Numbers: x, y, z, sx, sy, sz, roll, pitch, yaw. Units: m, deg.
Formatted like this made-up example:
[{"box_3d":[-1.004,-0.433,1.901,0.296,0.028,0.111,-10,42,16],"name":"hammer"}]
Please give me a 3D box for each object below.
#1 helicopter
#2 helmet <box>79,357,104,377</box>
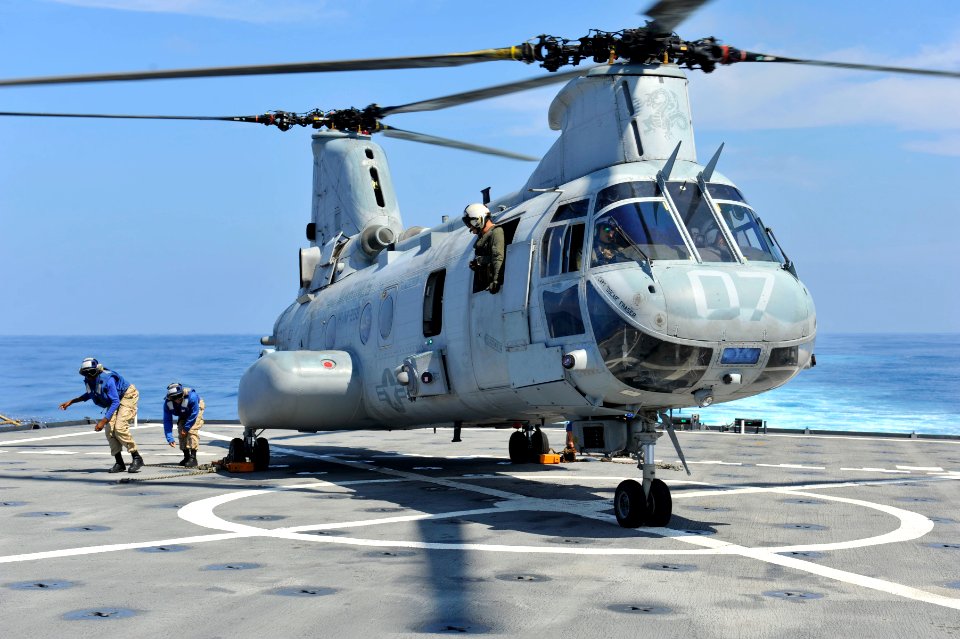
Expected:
[{"box_3d":[-0.823,-0.533,16.718,10.451,3.998,11.587,-1,0,-31],"name":"helicopter"},{"box_3d":[-7.803,0.949,18.556,0.415,0.304,0.445,-4,-5,-5],"name":"helmet"}]
